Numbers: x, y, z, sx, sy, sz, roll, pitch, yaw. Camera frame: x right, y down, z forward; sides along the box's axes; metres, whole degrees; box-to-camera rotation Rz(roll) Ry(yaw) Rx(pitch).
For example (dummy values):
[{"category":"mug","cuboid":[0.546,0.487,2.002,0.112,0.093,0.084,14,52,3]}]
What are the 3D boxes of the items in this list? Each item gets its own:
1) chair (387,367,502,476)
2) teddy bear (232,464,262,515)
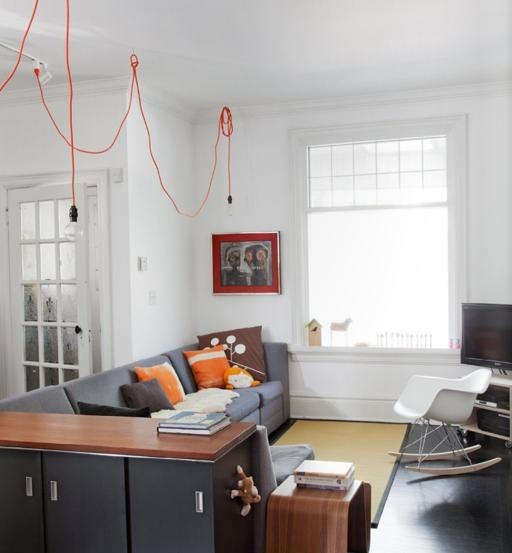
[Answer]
[{"category":"chair","cuboid":[1.373,1.052,3.592,0.699,0.834,0.628,1,-5,-6]},{"category":"teddy bear","cuboid":[-0.030,0.756,1.679,0.108,0.163,0.045,9,-2,-14]}]
